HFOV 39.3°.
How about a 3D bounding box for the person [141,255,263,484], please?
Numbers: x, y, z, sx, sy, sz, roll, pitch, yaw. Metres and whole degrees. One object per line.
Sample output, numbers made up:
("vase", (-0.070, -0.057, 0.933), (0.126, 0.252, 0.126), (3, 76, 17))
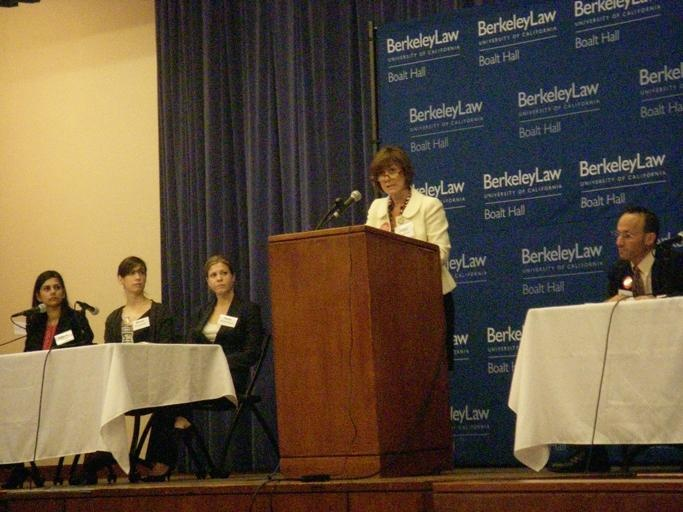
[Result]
("person", (-0.973, 0.819, 6.758), (0.770, 1.631, 0.846), (3, 0, 39))

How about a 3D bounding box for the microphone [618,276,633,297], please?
("microphone", (1.597, 0.173, 5.413), (0.025, 0.117, 0.107), (10, 7, 30))

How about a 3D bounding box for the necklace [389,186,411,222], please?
("necklace", (0.376, -0.326, 6.108), (0.052, 0.213, 0.139), (28, -29, -38))

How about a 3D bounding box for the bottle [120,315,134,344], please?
("bottle", (-1.420, 0.485, 6.319), (0.060, 0.145, 0.314), (0, -1, -15))

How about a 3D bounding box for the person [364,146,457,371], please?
("person", (0.441, 0.014, 6.032), (0.561, 1.434, 0.610), (0, 0, 2))

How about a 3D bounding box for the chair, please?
("chair", (-0.873, 0.989, 6.727), (0.673, 0.961, 0.724), (12, 11, 37))

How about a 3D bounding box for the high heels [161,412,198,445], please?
("high heels", (-1.065, 1.118, 6.248), (0.218, 0.252, 0.199), (1, -4, -10))

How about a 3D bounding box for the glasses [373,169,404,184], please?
("glasses", (0.315, -0.513, 5.984), (0.159, 0.081, 0.069), (0, 0, 2))

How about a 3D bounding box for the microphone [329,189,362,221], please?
("microphone", (0.034, -0.359, 6.756), (0.085, 0.314, 0.094), (34, -2, -44))
